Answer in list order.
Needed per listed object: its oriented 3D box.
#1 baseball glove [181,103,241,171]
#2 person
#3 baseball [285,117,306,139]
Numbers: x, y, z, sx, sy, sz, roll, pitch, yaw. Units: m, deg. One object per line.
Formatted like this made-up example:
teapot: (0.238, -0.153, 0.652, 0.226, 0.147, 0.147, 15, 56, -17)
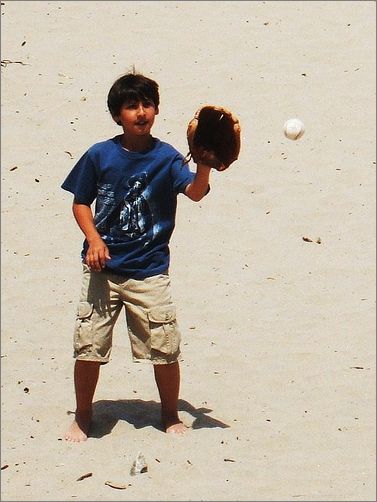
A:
baseball glove: (0.142, -0.605, 5.499, 0.311, 0.372, 0.263, 33, 7, -2)
person: (-0.336, -0.022, 5.782, 0.775, 1.802, 0.919, -2, 36, -7)
baseball: (0.821, -0.945, 7.644, 0.170, 0.145, 0.162, -9, -7, 25)
